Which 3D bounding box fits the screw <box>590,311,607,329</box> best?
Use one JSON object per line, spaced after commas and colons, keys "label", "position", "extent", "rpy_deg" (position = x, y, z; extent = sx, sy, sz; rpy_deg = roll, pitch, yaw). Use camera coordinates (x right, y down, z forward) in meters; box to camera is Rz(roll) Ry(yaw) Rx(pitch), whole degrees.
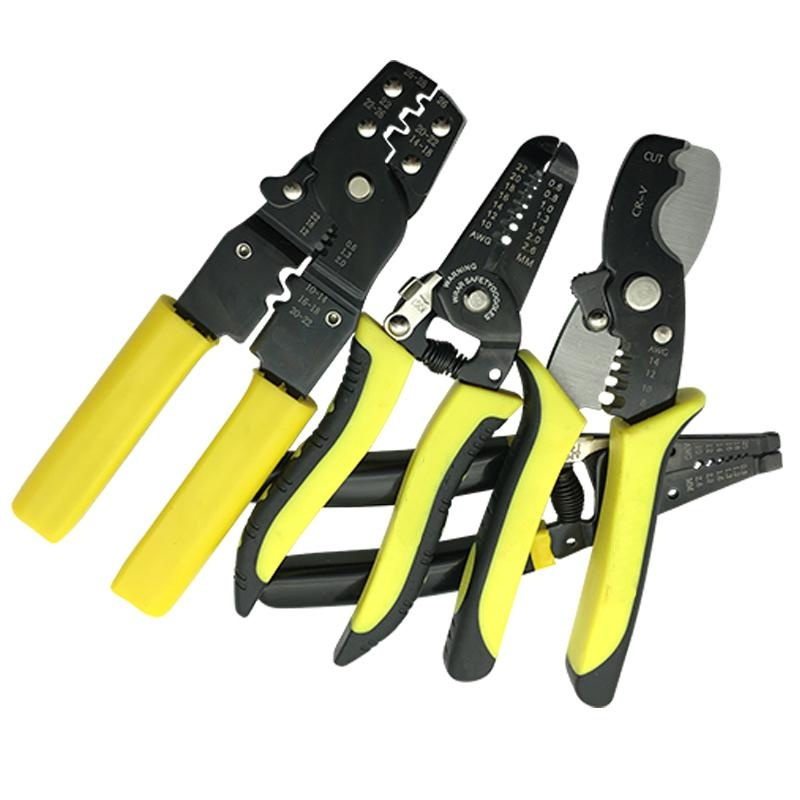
{"label": "screw", "position": [0.503, -0.204, 2.449], "extent": [0.052, 0.039, 0.029], "rpy_deg": [6, -12, -1]}
